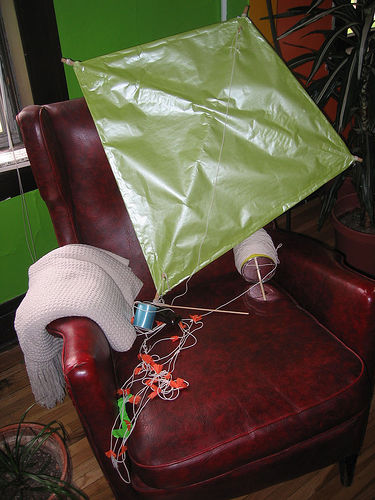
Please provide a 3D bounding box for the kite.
[{"bbox_3d":[0.117,-0.377,1.052,0.111,0.609,0.623,-42,-14,6],"label":"kite"}]
